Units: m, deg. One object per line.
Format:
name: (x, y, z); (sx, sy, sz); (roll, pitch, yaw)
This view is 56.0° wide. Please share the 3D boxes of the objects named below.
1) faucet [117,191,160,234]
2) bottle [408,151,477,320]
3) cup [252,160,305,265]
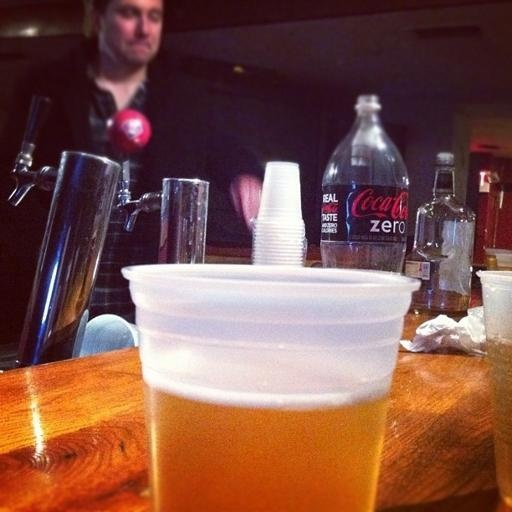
faucet: (-0.168, -0.068, 0.716); (0.111, 0.058, 0.033); (7, 6, 41)
bottle: (0.380, -0.047, 0.992); (0.131, 0.282, 0.264); (3, 2, 23)
cup: (0.038, -0.066, 0.741); (0.080, 0.166, 0.226); (3, 2, 6)
